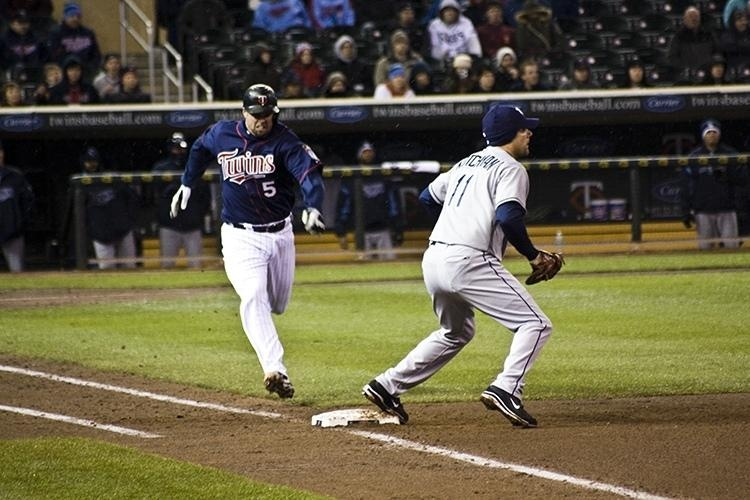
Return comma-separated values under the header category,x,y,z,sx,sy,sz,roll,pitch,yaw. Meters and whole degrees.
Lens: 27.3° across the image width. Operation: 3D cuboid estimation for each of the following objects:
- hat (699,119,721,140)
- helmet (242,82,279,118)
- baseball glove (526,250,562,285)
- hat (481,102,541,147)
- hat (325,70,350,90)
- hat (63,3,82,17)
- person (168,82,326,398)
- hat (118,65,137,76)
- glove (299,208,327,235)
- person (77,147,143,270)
category,x,y,z,sx,sy,sz,roll,pitch,yaw
hat,5.555,-2.002,25.146,0.292,0.263,0.365,0,-6,4
helmet,-1.407,-1.817,18.479,0.369,0.227,0.440,-5,23,-19
baseball glove,2.072,0.155,18.078,0.551,0.255,0.236,-23,54,-32
hat,1.660,-1.516,18.212,0.713,0.378,0.433,-12,18,-5
hat,-0.626,-2.844,25.647,0.359,0.337,0.300,-21,40,20
hat,-5.000,-3.958,25.369,0.250,0.219,0.230,-1,43,-14
person,-1.387,-0.120,18.601,1.624,3.753,0.789,-1,-1,39
hat,-4.075,-2.981,25.370,0.235,0.141,0.213,4,15,5
glove,-0.762,-0.350,18.362,0.314,0.222,0.138,41,-23,-5
person,-4.224,-0.406,24.502,0.849,1.380,0.277,0,-1,-5
